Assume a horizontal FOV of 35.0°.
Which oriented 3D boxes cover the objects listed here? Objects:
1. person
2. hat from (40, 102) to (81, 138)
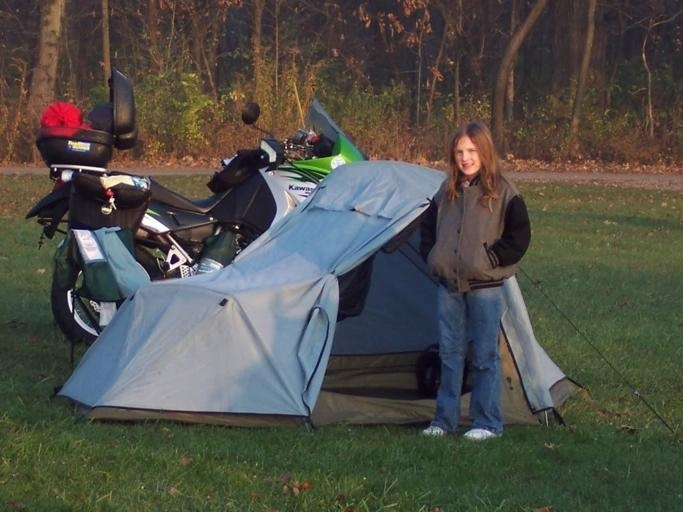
[{"bbox_3d":[1.609,0.292,13.282,1.233,3.786,0.623,3,9,10],"label":"person"},{"bbox_3d":[-3.805,-1.845,14.684,0.414,0.484,0.533,1,22,-36],"label":"hat"}]
